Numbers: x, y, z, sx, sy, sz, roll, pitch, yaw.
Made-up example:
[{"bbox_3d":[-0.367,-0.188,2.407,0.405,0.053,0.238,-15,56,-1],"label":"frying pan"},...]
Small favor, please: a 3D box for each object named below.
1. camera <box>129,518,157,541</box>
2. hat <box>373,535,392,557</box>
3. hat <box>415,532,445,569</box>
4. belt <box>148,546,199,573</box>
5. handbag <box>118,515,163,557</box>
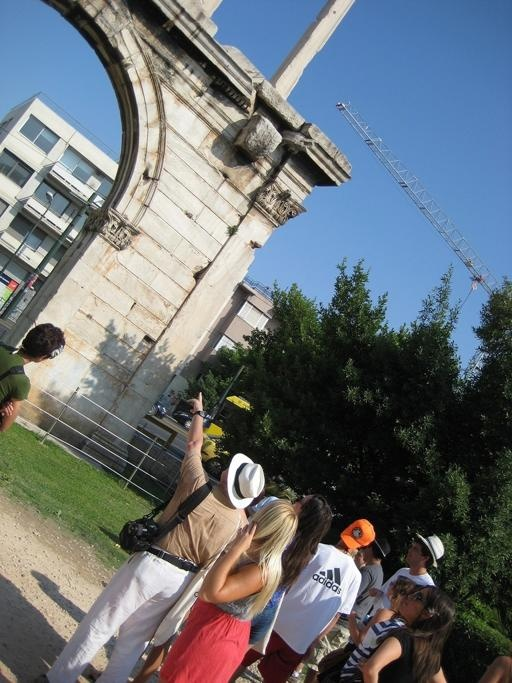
[{"bbox_3d":[-0.641,1.067,3.119,0.106,0.052,0.139,17,-22,-25],"label":"camera"},{"bbox_3d":[1.098,1.830,4.914,0.149,0.166,0.435,33,-9,20],"label":"hat"},{"bbox_3d":[1.428,1.711,4.611,0.245,0.224,0.412,32,-9,23],"label":"hat"},{"bbox_3d":[-0.467,1.242,3.125,0.202,0.044,0.177,24,-7,9],"label":"belt"},{"bbox_3d":[-0.680,1.144,3.231,0.239,0.215,0.204,7,-21,49],"label":"handbag"}]
